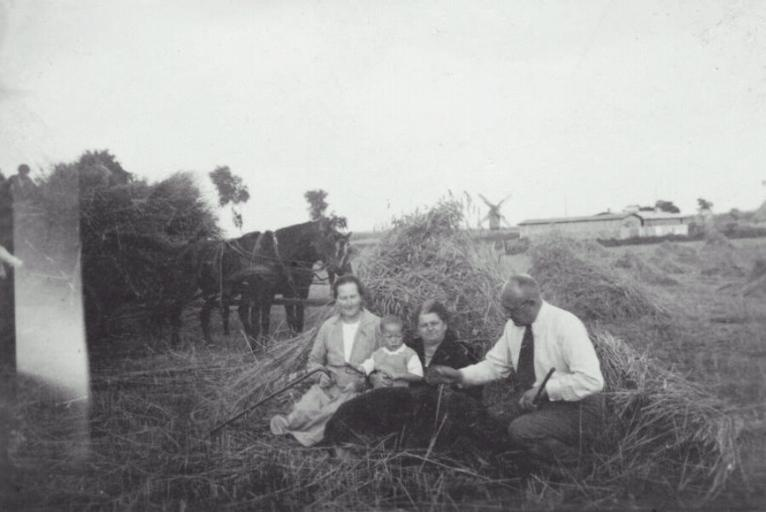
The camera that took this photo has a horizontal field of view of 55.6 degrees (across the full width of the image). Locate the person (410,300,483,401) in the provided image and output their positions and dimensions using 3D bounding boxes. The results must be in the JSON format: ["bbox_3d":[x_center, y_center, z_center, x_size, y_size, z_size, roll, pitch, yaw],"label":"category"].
[{"bbox_3d":[0.687,1.015,7.541,0.754,0.709,0.413,-17,4,13],"label":"person"}]

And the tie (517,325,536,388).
[{"bbox_3d":[1.454,1.053,7.442,0.222,0.841,0.047,0,25,15],"label":"tie"}]
